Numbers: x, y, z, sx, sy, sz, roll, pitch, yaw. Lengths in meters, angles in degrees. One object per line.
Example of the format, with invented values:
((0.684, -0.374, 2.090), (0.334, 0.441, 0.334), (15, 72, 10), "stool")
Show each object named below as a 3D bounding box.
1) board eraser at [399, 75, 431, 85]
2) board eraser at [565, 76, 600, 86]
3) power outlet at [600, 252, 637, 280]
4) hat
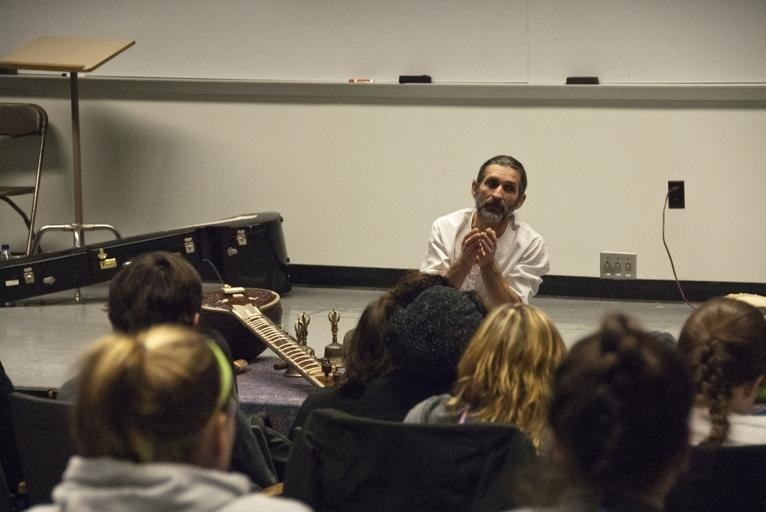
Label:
((0.203, -1.133, 4.179), (0.208, 0.072, 0.062), (1, 2, 7), "board eraser")
((1.212, -1.074, 3.988), (0.206, 0.057, 0.071), (1, 2, 12), "board eraser")
((1.474, 0.056, 4.097), (0.152, 0.123, 0.056), (2, 7, 15), "power outlet")
((0.111, 0.180, 1.574), (0.174, 0.122, 0.226), (19, -24, -6), "hat")
